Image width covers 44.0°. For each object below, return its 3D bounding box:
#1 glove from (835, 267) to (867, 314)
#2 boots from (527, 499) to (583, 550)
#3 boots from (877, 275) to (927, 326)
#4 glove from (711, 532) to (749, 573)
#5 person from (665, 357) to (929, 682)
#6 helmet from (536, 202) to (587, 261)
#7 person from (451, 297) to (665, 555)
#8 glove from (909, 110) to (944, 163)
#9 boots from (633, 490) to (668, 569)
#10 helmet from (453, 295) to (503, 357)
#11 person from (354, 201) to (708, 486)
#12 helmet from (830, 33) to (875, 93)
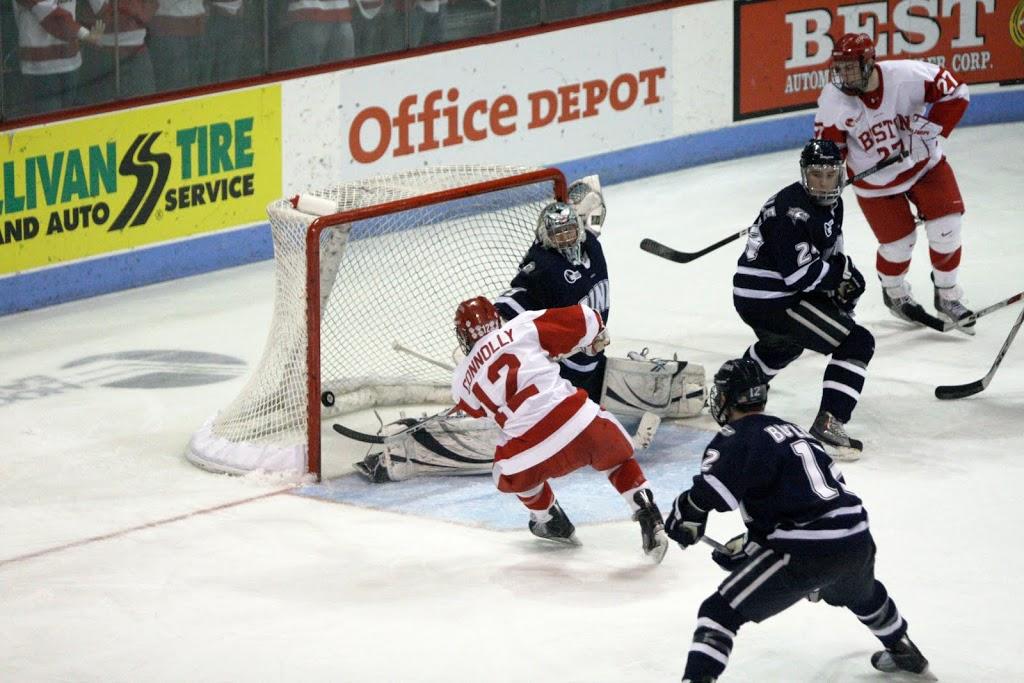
[{"bbox_3d":[1.655,-0.231,6.170,0.090,0.215,0.153,36,13,-17],"label":"glove"},{"bbox_3d":[0.110,0.772,5.331,0.335,0.208,0.104,1,36,-5],"label":"boots"},{"bbox_3d":[2.349,-0.232,7.476,0.133,0.255,0.391,-23,17,-19],"label":"boots"},{"bbox_3d":[0.796,0.771,4.510,0.139,0.057,0.134,-31,22,-2],"label":"glove"},{"bbox_3d":[1.091,0.725,4.895,0.920,1.191,1.129,4,8,36],"label":"person"},{"bbox_3d":[0.221,-0.502,5.908,0.237,0.274,0.153,-2,17,1],"label":"helmet"},{"bbox_3d":[0.140,0.306,5.412,0.759,1.148,0.372,-27,4,1],"label":"person"},{"bbox_3d":[2.302,-1.149,7.093,0.267,0.232,0.074,-7,30,-10],"label":"glove"},{"bbox_3d":[0.546,0.755,5.086,0.113,0.135,0.310,-26,35,5],"label":"boots"},{"bbox_3d":[-0.165,-0.061,5.204,0.204,0.228,0.243,-7,10,-3],"label":"helmet"},{"bbox_3d":[0.099,0.079,6.036,1.226,0.686,1.750,0,-15,0],"label":"person"},{"bbox_3d":[1.834,-1.488,6.831,0.239,0.320,0.228,2,18,13],"label":"helmet"}]
